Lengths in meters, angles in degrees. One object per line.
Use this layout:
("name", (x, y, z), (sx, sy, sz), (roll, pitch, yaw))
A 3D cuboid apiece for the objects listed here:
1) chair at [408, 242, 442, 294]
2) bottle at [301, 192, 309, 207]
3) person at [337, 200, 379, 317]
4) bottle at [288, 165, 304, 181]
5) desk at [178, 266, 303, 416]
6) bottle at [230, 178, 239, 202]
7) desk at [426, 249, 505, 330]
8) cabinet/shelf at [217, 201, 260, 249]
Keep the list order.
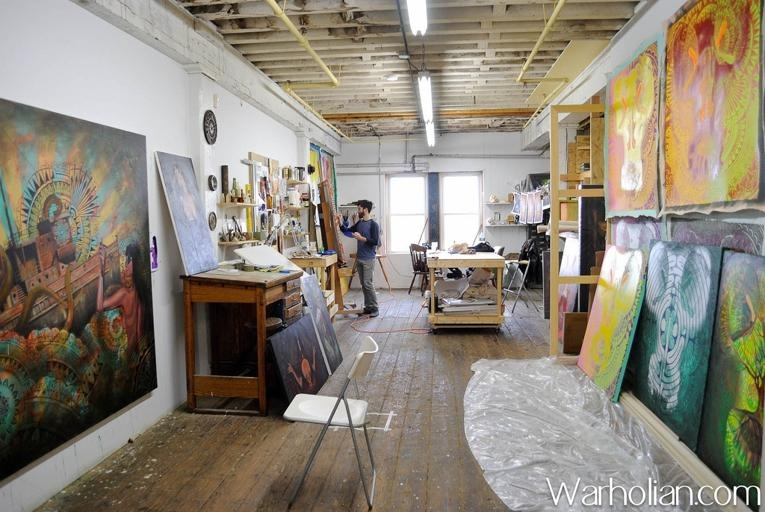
("chair", (0.723, 0.189, 9.699), (0.798, 1.311, 0.696), (0, 5, 4))
("bottle", (-1.361, -1.008, 8.867), (0.245, 0.271, 0.183), (0, 8, -3))
("person", (-0.397, 0.000, 8.695), (0.646, 1.931, 0.919), (-3, 11, -5))
("bottle", (-1.436, -1.389, 8.390), (0.174, 0.251, 0.607), (-1, 12, 4))
("desk", (-1.520, 0.764, 5.645), (1.085, 1.691, 1.918), (-1, 2, 1))
("bottle", (-1.784, -0.794, 6.020), (0.095, 0.260, 0.189), (-5, 12, -17))
("desk", (1.220, 0.509, 7.577), (1.081, 1.094, 1.046), (-1, 11, 5))
("cabinet/shelf", (-1.739, -0.407, 6.157), (0.263, 0.579, 0.844), (1, 12, 13))
